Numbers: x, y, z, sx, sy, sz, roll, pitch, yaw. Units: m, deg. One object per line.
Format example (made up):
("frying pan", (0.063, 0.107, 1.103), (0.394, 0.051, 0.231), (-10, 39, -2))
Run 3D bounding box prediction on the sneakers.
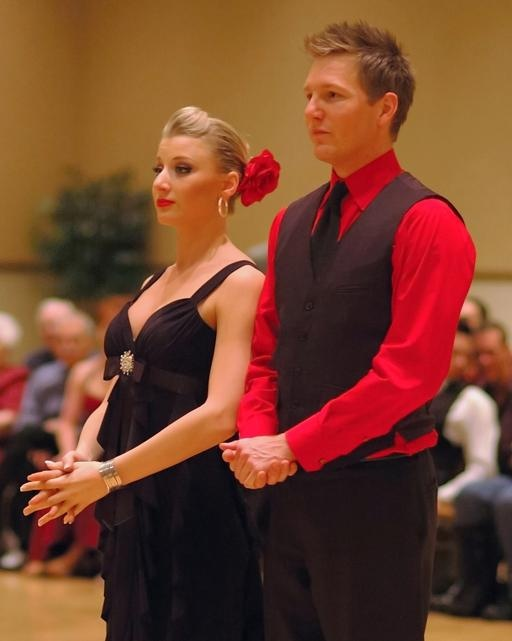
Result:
("sneakers", (-0.902, 1.086, 3.499), (0.391, 0.205, 0.122), (6, -14, 9))
